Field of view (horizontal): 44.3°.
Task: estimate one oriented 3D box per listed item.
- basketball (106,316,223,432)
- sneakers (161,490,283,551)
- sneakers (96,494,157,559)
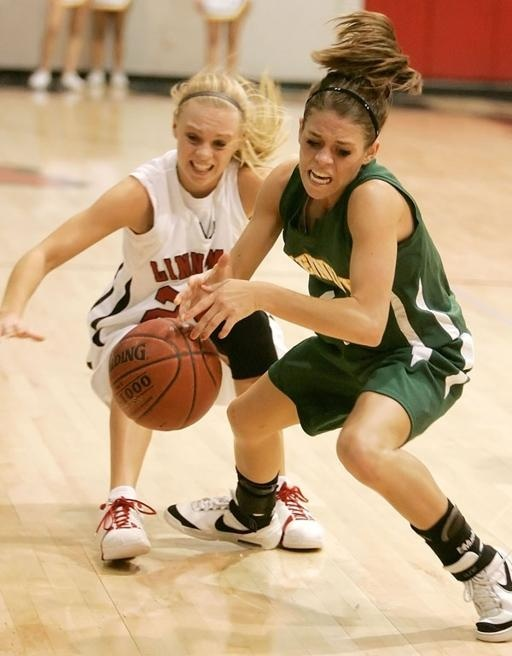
[{"bbox_3d":[-0.225,0.120,1.374,0.269,0.227,0.243,13,-9,0],"label":"basketball"},{"bbox_3d":[-0.086,0.455,1.466,0.321,0.113,0.105,6,3,3],"label":"sneakers"},{"bbox_3d":[-0.302,0.439,1.393,0.095,0.073,0.177,-1,-2,-11],"label":"sneakers"}]
